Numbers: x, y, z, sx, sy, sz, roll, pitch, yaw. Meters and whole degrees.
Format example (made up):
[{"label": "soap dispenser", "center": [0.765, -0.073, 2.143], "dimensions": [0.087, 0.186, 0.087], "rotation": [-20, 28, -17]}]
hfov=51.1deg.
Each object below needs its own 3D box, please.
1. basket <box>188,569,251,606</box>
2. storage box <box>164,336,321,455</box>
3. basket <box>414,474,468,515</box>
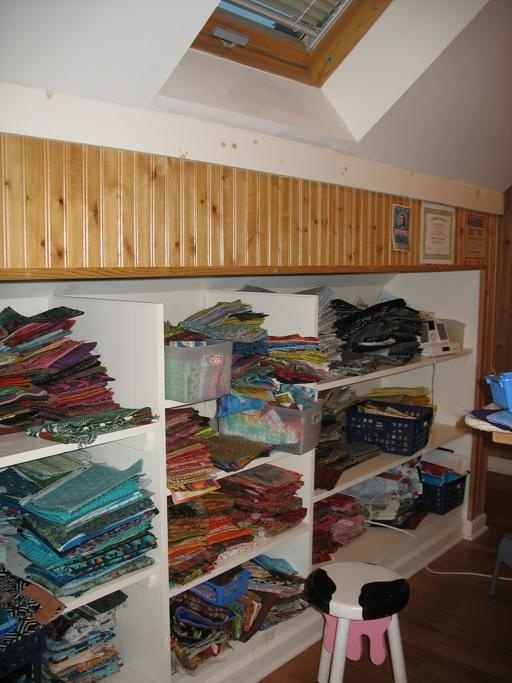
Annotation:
[{"label": "basket", "center": [-0.112, 0.851, 1.901], "dimensions": [0.121, 0.069, 0.178], "rotation": [-4, -8, 43]}, {"label": "storage box", "center": [-0.106, 0.156, 1.782], "dimensions": [0.546, 0.225, 0.311], "rotation": [17, 20, 36]}, {"label": "basket", "center": [1.066, 0.854, 3.084], "dimensions": [0.255, 0.144, 0.248], "rotation": [-5, 6, -36]}]
